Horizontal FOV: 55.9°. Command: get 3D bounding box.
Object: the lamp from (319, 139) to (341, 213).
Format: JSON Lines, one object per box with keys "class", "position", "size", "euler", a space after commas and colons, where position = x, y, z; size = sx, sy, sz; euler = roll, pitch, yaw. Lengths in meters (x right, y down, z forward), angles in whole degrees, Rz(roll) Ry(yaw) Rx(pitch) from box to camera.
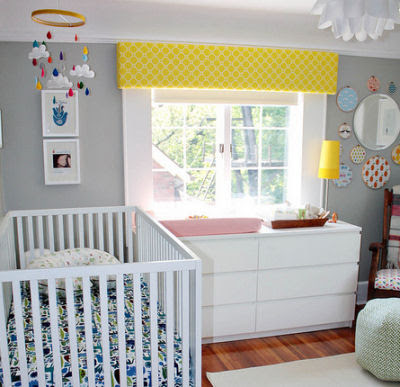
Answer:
{"class": "lamp", "position": [1.132, -0.147, 3.292], "size": [0.181, 0.631, 0.321], "euler": [1, 8, 20]}
